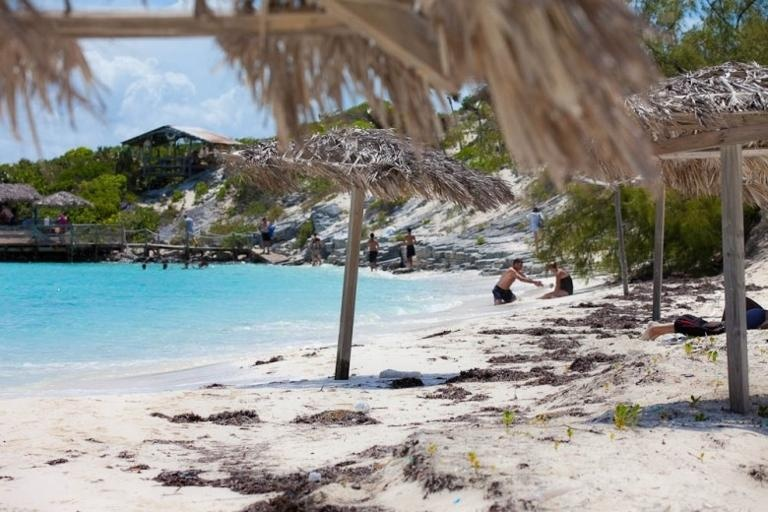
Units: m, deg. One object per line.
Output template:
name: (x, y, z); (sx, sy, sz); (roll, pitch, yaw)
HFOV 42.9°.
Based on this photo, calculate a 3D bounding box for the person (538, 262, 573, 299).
person: (4.241, 0.557, 23.289); (0.960, 1.141, 0.721); (1, 6, 18)
